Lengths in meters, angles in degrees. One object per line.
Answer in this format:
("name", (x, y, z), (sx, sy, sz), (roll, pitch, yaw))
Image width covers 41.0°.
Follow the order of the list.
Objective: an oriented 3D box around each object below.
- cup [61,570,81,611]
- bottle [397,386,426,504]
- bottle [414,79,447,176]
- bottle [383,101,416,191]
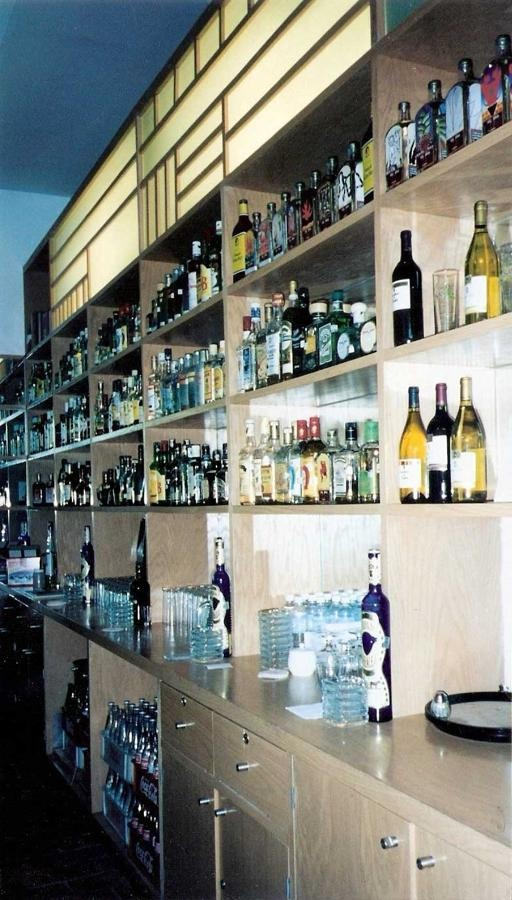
("cup", (-1.005, 0.763, 3.684), (0.119, 0.272, 0.134), (2, -4, -20))
("bottle", (0.283, -0.006, 1.260), (0.062, 0.205, 0.085), (-8, -3, 14))
("bottle", (0.295, -0.549, 1.171), (0.058, 0.157, 0.078), (-9, -3, 16))
("bottle", (0.263, -0.541, 1.257), (0.026, 0.145, 0.095), (-6, -4, -19))
